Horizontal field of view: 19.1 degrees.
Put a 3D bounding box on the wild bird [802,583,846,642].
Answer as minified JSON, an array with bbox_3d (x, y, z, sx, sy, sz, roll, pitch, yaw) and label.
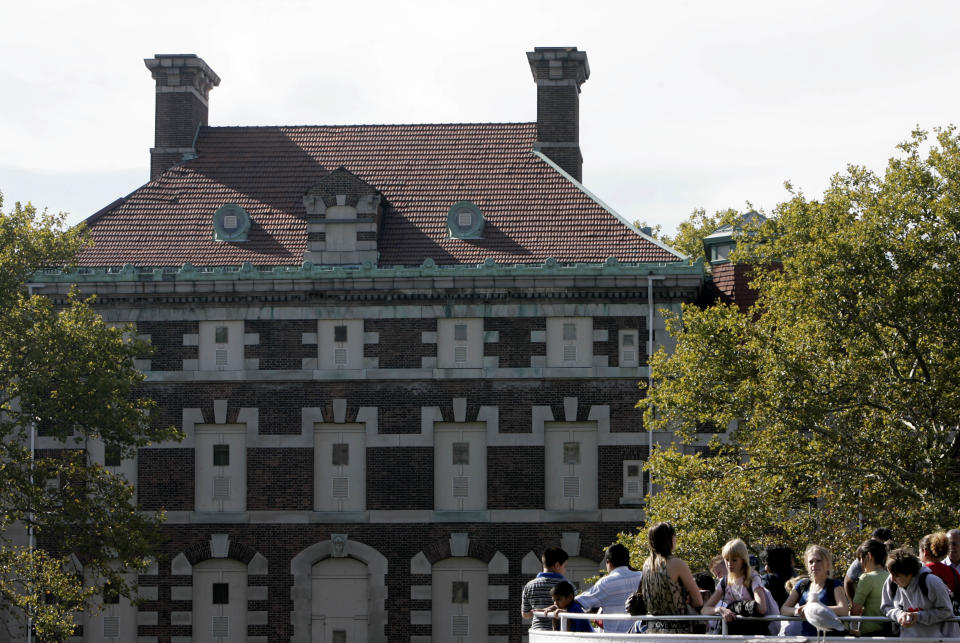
[{"bbox_3d":[7.571,6.799,65.404,1.334,1.467,0.768,3,1,21],"label":"wild bird"}]

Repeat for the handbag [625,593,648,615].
[{"bbox_3d":[3.555,6.604,66.098,0.397,0.509,0.510,4,-1,-3],"label":"handbag"}]
